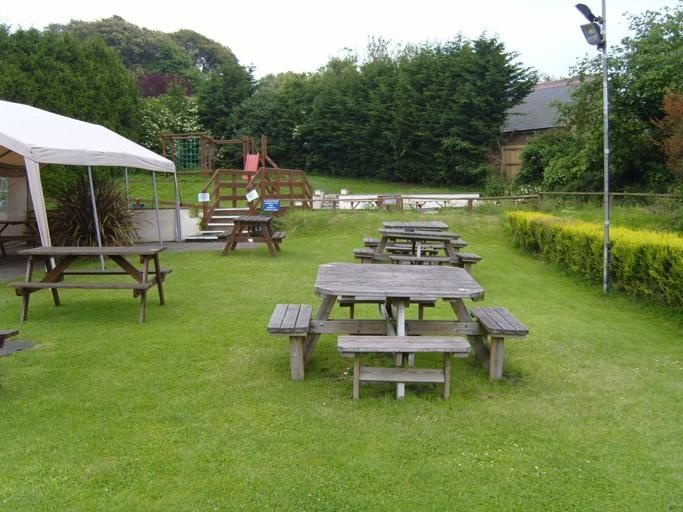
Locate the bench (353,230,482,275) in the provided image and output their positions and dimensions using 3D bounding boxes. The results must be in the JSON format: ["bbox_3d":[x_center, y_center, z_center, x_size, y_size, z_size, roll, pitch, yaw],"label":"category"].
[{"bbox_3d":[1.439,-0.142,10.814,1.374,0.586,1.375,1,11,-1],"label":"bench"}]

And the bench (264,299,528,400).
[{"bbox_3d":[0.581,0.991,5.948,2.703,0.711,0.998,0,7,0],"label":"bench"}]

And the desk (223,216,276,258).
[{"bbox_3d":[-2.379,-0.637,14.335,1.632,0.890,1.784,2,15,-9],"label":"desk"}]
